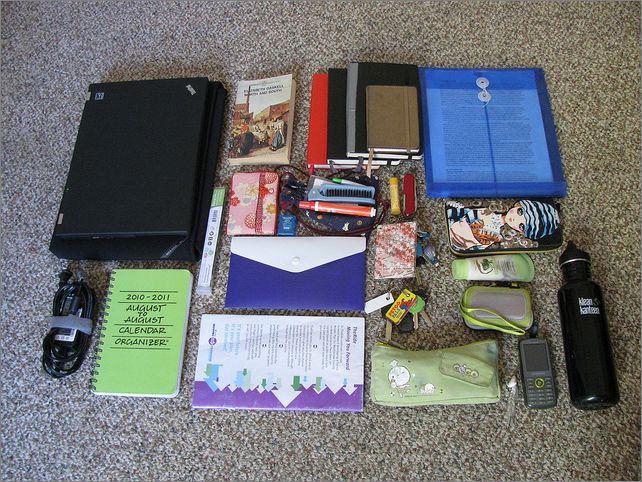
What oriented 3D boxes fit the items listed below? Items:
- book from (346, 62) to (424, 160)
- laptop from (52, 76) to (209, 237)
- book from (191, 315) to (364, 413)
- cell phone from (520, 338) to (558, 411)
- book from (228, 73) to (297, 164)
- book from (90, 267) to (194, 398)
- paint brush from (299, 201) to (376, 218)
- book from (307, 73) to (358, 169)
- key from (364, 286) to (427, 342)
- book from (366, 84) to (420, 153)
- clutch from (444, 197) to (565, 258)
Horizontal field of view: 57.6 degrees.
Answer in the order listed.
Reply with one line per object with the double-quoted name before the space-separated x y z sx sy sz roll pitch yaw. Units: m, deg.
"book" 0.188 -0.375 1.735 0.280 0.097 0.389 1 58 -3
"laptop" -0.573 -0.265 1.783 0.406 0.053 0.514 3 74 2
"book" -0.117 0.344 1.661 0.475 0.034 0.261 2 74 1
"cell phone" 0.595 0.362 1.604 0.082 0.029 0.186 -4 74 0
"book" -0.182 -0.383 1.818 0.184 0.053 0.287 3 74 2
"book" -0.517 0.259 1.700 0.251 0.033 0.368 4 74 2
"paint brush" 0.059 -0.097 1.728 0.186 0.032 0.031 2 51 1
"book" -0.007 -0.365 1.796 0.238 0.064 0.329 3 79 8
"key" 0.235 0.205 1.653 0.167 0.023 0.148 -23 81 4
"book" 0.207 -0.372 1.719 0.187 0.048 0.179 -1 79 -3
"clutch" 0.532 -0.043 1.695 0.323 0.023 0.161 -2 74 0
